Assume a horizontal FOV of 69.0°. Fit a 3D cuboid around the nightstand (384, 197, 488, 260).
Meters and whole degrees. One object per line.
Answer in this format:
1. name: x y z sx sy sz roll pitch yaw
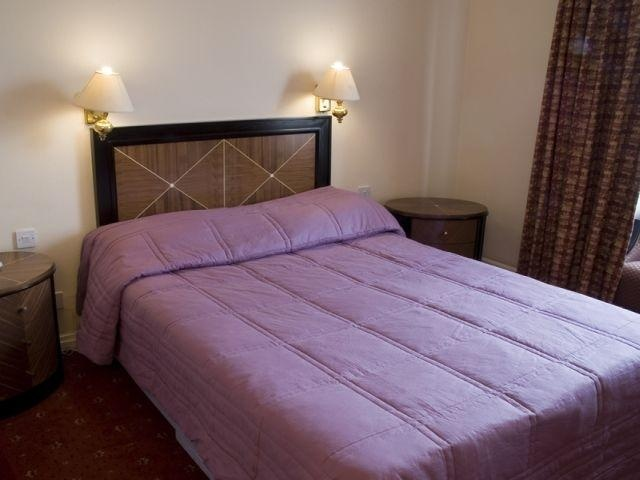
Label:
1. nightstand: 0.959 -0.133 3.719 0.563 0.615 0.579 7 22 20
